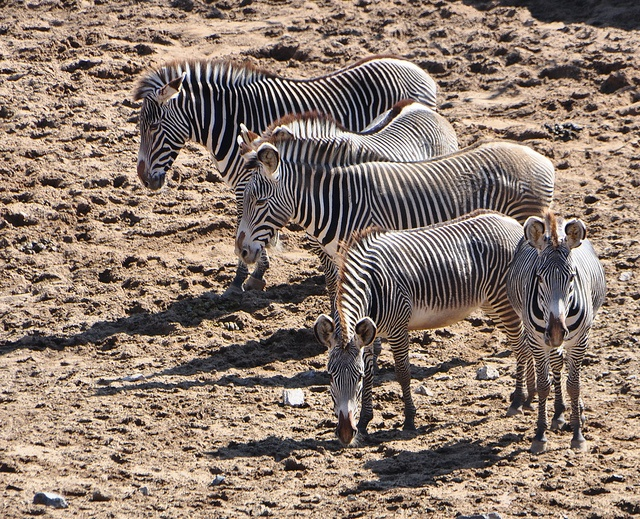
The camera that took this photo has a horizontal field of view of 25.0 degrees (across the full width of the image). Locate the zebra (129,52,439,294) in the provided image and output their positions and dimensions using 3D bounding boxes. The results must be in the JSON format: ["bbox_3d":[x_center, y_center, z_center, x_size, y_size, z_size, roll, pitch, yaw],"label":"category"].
[{"bbox_3d":[-0.353,-1.137,17.967,3.841,2.817,1.064,-6,14,-3],"label":"zebra"}]

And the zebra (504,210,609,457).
[{"bbox_3d":[2.518,0.750,15.213,0.871,2.516,0.955,1,7,-5],"label":"zebra"}]
